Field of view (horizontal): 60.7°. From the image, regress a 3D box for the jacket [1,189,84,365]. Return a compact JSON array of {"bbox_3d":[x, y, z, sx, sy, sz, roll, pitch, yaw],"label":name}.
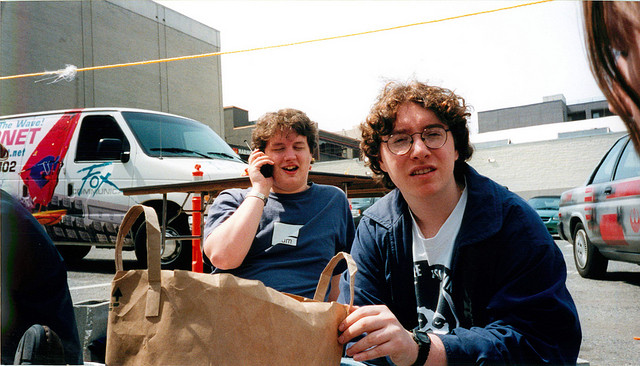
[{"bbox_3d":[-2.535,0.831,4.793,0.735,1.597,0.172,-5,-2,-2],"label":"jacket"}]
